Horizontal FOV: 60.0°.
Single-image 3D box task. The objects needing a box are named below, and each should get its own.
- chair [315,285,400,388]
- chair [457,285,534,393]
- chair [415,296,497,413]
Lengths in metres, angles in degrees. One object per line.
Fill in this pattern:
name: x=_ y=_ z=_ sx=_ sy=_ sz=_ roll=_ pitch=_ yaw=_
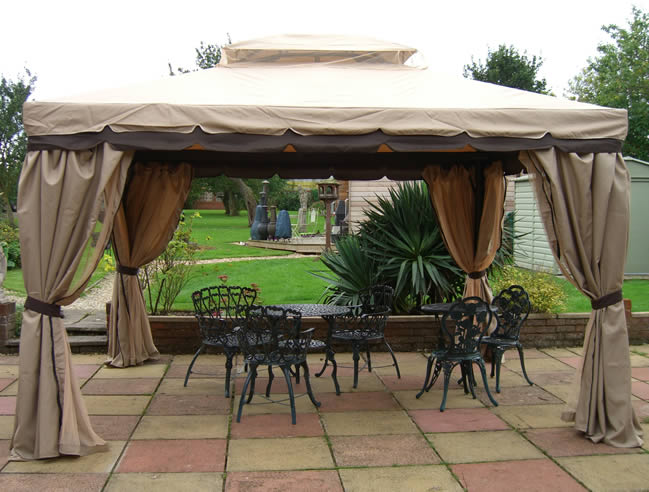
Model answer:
chair: x=0.397 y=0.947 z=6.238 sx=0.762 sy=0.991 sz=0.738 roll=-2 pitch=0 yaw=-36
chair: x=1.865 y=0.973 z=6.059 sx=0.721 sy=1.086 sz=0.690 roll=-1 pitch=-10 yaw=24
chair: x=1.394 y=0.989 z=5.889 sx=0.754 sy=1.086 sz=1.470 roll=2 pitch=7 yaw=11
